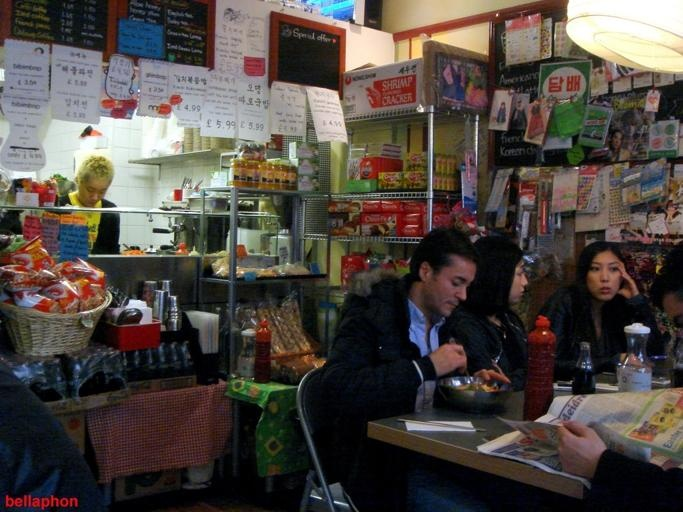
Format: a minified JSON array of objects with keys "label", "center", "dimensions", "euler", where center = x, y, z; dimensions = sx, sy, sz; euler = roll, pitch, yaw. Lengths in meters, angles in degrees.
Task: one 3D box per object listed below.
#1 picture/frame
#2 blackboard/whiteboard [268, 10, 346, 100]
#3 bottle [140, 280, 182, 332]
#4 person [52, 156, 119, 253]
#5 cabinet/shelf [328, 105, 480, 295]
[{"label":"picture/frame","center":[0.861,-1.277,4.027],"dimensions":[0.718,0.469,0.092],"euler":[-8,9,-42]},{"label":"blackboard/whiteboard","center":[-0.254,-1.539,4.260],"dimensions":[0.740,0.519,0.045],"euler":[-8,17,-43]},{"label":"bottle","center":[-1.153,0.321,3.510],"dimensions":[0.231,0.311,0.233],"euler":[-2,3,0]},{"label":"person","center":[-2.038,-0.422,4.421],"dimensions":[0.428,0.798,1.106],"euler":[-3,4,-26]},{"label":"cabinet/shelf","center":[0.406,-0.548,4.310],"dimensions":[0.667,1.165,0.382],"euler":[-3,0,15]}]
